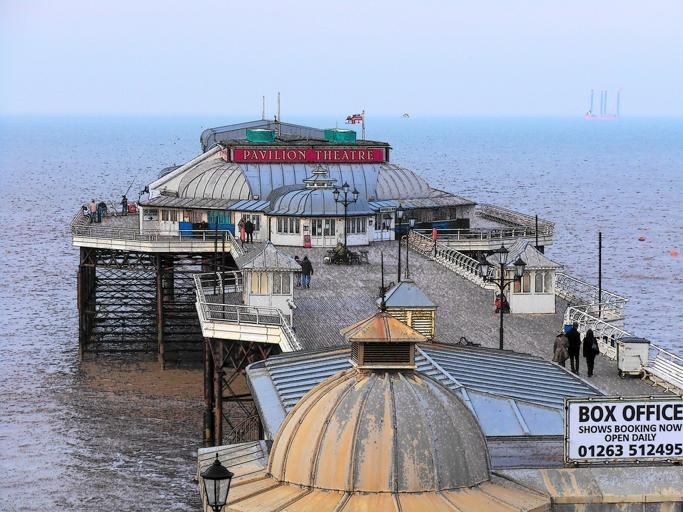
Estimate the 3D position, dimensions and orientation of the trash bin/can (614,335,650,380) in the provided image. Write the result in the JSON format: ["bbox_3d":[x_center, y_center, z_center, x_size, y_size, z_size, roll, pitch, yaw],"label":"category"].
[{"bbox_3d":[9.562,3.304,52.088,1.057,1.235,0.891,3,10,8],"label":"trash bin/can"}]

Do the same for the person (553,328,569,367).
[{"bbox_3d":[7.264,3.150,52.138,0.496,1.220,1.527,3,10,8],"label":"person"}]

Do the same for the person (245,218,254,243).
[{"bbox_3d":[-4.210,-1.090,73.772,0.367,1.006,1.004,1,10,-4],"label":"person"}]

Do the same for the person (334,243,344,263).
[{"bbox_3d":[-0.041,-0.061,69.136,0.527,0.835,0.387,-3,11,-27],"label":"person"}]

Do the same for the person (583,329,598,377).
[{"bbox_3d":[8.255,3.072,52.412,0.471,1.427,1.680,3,10,9],"label":"person"}]
